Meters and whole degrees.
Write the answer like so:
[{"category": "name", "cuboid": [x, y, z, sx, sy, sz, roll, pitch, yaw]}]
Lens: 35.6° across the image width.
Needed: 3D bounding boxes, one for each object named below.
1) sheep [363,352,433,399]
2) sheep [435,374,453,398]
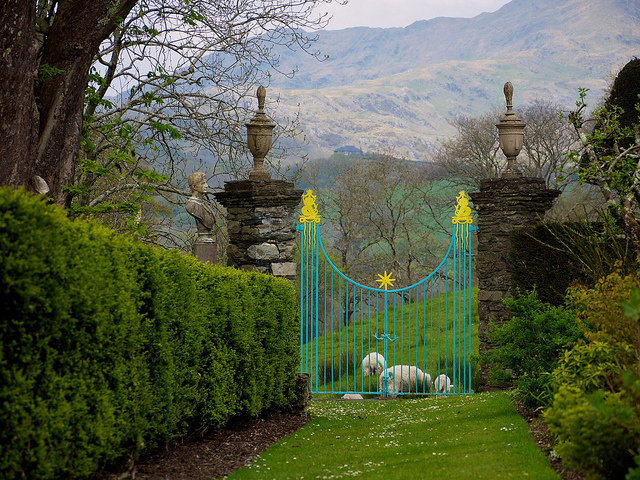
[{"category": "sheep", "cuboid": [1.525, 2.925, 19.538, 1.537, 0.920, 0.488, 0, -26, -18]}, {"category": "sheep", "cuboid": [2.390, 2.854, 19.534, 0.257, 0.336, 0.603, 0, -7, 9]}]
